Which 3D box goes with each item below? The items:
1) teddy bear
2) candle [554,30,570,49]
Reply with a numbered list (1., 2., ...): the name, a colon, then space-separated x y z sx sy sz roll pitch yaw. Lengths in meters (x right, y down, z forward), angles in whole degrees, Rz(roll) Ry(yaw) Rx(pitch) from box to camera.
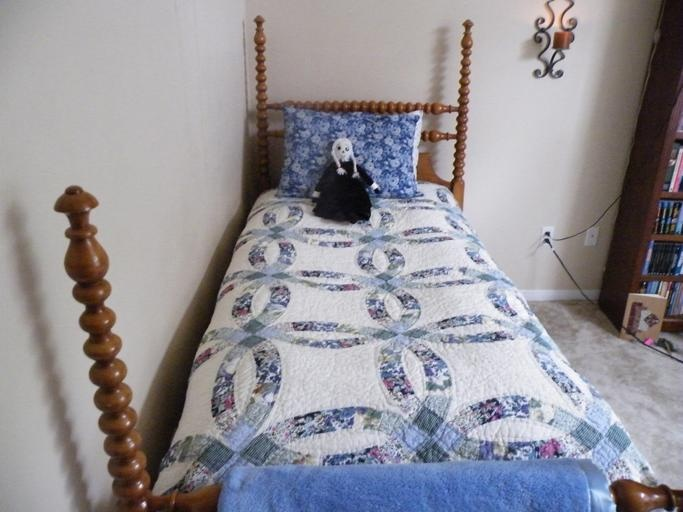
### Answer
1. teddy bear: 0.014 -0.328 2.474 0.285 0.404 0.111 -3 38 -1
2. candle: 1.080 -1.053 2.841 0.081 0.085 0.081 0 14 -2
